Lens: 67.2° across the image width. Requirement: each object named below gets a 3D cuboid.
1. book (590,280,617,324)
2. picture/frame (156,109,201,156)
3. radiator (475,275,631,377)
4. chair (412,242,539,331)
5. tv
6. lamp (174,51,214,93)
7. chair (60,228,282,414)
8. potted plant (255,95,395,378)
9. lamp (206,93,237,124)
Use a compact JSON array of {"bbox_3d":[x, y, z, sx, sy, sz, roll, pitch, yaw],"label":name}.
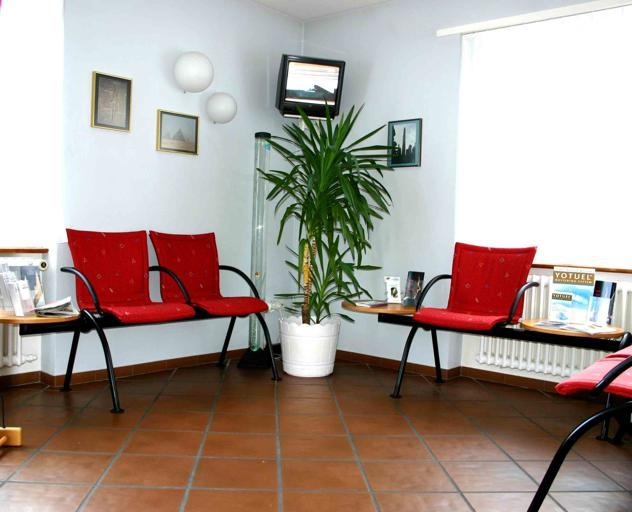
[{"bbox_3d":[1.742,0.286,2.876,0.101,0.274,0.213,4,3,41],"label":"book"},{"bbox_3d":[-1.113,-0.991,3.795,0.046,0.354,0.425,3,1,43],"label":"picture/frame"},{"bbox_3d":[1.534,0.413,3.031,0.745,0.485,0.082,6,5,39],"label":"radiator"},{"bbox_3d":[1.117,0.199,3.319,0.740,0.578,0.676,0,3,-43],"label":"chair"},{"bbox_3d":[0.008,-1.510,4.318,0.585,0.513,0.340,10,18,10],"label":"tv"},{"bbox_3d":[-0.960,-1.445,3.741,0.306,0.356,0.305,-5,7,-32],"label":"lamp"},{"bbox_3d":[-1.070,0.367,3.389,1.339,1.095,0.910,0,3,-39],"label":"chair"},{"bbox_3d":[0.076,-0.213,4.012,1.076,2.338,1.185,2,2,2],"label":"potted plant"},{"bbox_3d":[-0.792,-1.240,3.959,0.203,0.238,0.210,4,3,44],"label":"lamp"}]
